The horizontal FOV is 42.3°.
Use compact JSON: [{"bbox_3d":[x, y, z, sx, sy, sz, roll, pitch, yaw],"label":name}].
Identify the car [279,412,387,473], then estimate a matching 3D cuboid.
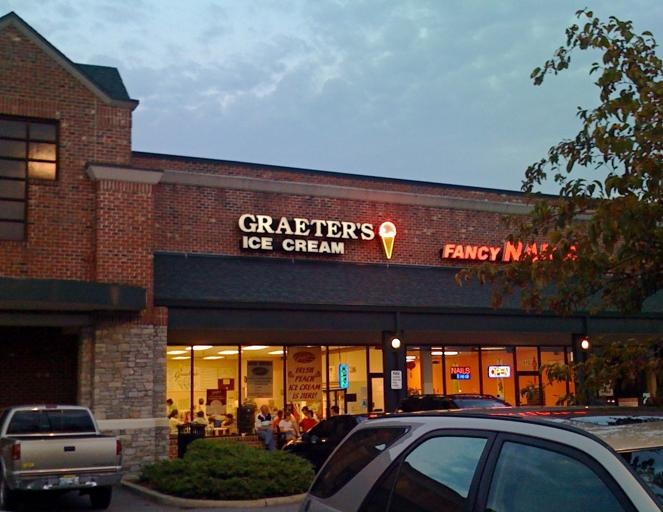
[{"bbox_3d":[-0.062,4.524,20.984,3.265,1.617,2.000,-2,-14,20],"label":"car"}]
